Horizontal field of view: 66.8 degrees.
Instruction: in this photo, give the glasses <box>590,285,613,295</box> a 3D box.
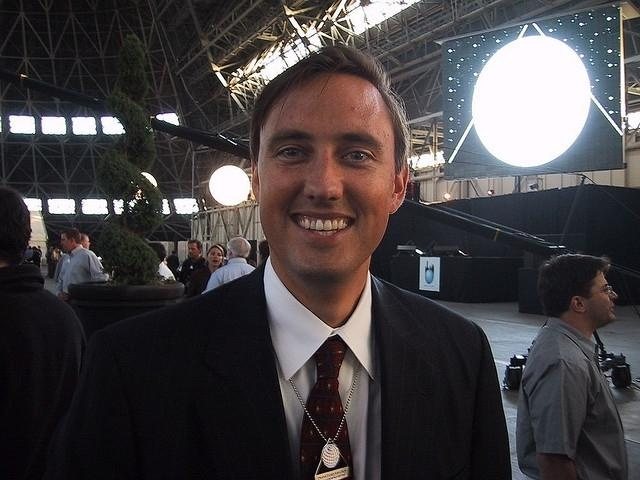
[{"bbox_3d":[1.934,0.341,3.335,0.112,0.039,0.116,-5,-9,29],"label":"glasses"}]
